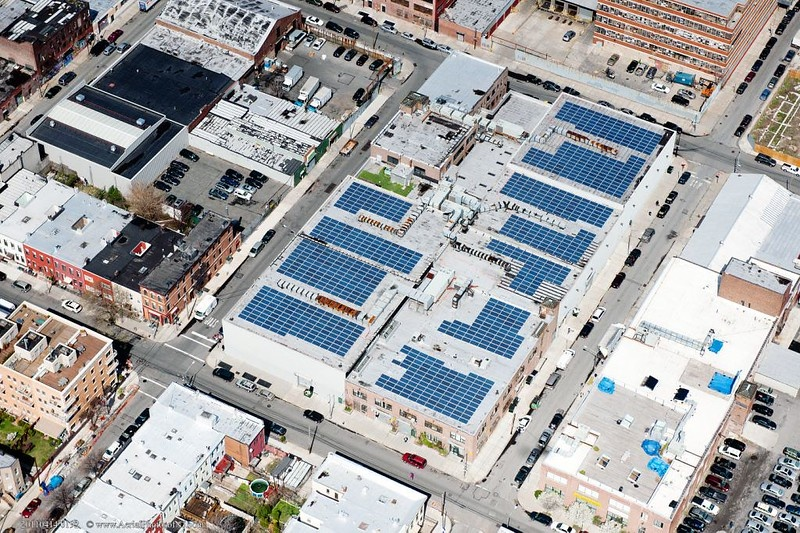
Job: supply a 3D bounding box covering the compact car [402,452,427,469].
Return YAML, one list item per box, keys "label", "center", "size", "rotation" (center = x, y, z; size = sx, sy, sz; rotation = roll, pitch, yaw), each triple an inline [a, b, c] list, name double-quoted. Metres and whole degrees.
- label: "compact car"
  center: [3.776, 53.139, 408.308]
  size: [5.519, 2.269, 3.556]
  rotation: [22, 60, 6]

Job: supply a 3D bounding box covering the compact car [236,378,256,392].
- label: "compact car"
  center: [-42.928, 33.226, 420.143]
  size: [4.920, 2.149, 3.002]
  rotation: [24, 60, -4]

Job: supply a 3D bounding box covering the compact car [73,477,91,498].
- label: "compact car"
  center: [-84.255, 58.476, 400.542]
  size: [2.753, 2.253, 6.165]
  rotation: [30, 60, 9]

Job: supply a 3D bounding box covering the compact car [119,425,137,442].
- label: "compact car"
  center: [-73.856, 45.592, 410.182]
  size: [4.152, 1.148, 4.294]
  rotation: [13, 58, 46]

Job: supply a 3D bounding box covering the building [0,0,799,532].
- label: "building"
  center: [-15.413, -13.223, 444.836]
  size: [130.383, 35.902, 150.617]
  rotation: [21, 54, 21]

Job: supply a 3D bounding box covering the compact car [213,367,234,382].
- label: "compact car"
  center: [-49.334, 30.469, 422.168]
  size: [5.292, 1.760, 3.236]
  rotation: [26, 71, 5]
